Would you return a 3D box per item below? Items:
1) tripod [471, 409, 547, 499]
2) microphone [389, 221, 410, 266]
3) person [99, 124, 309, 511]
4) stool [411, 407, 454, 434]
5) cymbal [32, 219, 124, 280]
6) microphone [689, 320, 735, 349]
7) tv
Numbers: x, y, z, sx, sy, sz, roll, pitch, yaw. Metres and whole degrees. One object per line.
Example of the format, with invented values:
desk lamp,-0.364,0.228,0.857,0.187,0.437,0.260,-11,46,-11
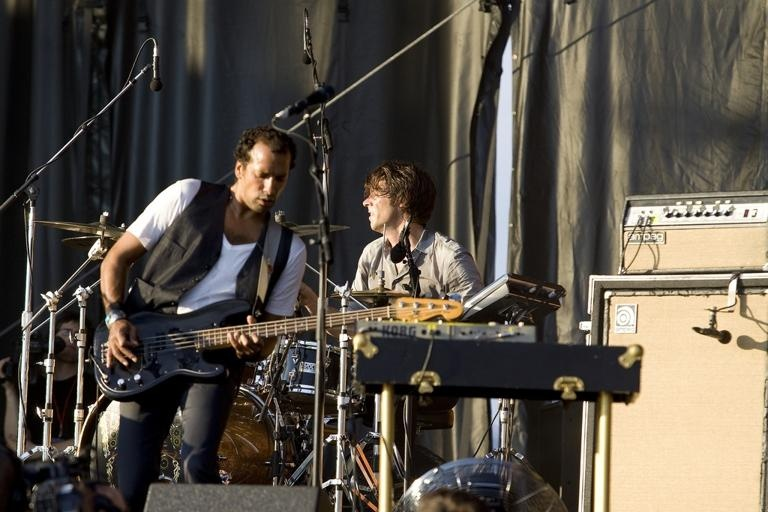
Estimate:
tripod,0.828,1.288,13.481,0.459,0.620,0.458,1,1,-4
microphone,0.132,-0.070,13.208,0.091,0.240,0.181,14,12,11
person,-1.209,0.297,12.771,1.097,2.693,1.236,2,11,-7
stool,0.381,1.197,13.974,0.264,0.183,0.598,4,-3,1
cymbal,-2.232,-0.180,14.297,0.551,0.264,0.548,22,-48,-32
microphone,2.233,0.536,12.950,0.252,0.114,0.115,24,-18,8
tv,0.939,0.312,13.048,0.431,0.098,0.431,16,-37,-29
